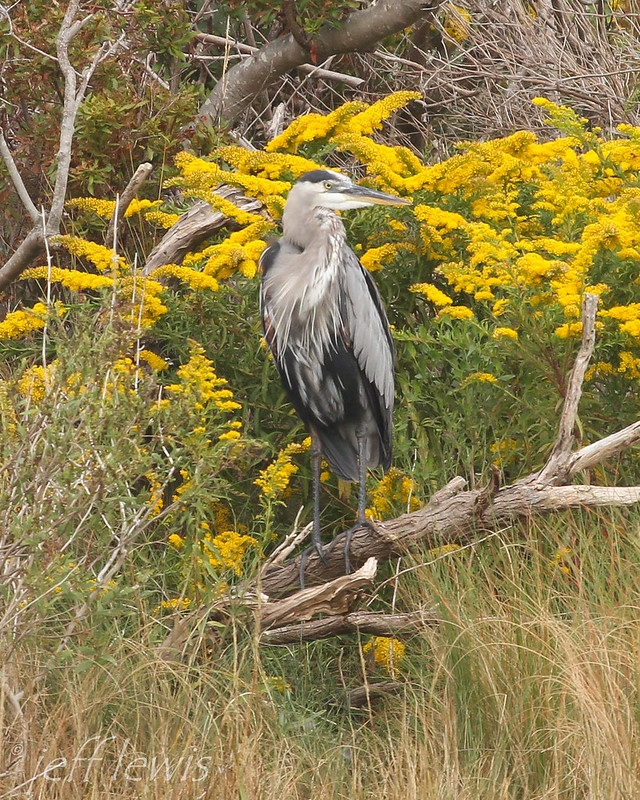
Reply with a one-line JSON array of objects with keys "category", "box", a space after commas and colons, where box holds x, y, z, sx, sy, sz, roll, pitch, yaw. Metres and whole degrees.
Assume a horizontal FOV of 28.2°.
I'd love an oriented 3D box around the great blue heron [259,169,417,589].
[{"category": "great blue heron", "box": [0.088, -0.179, 4.319, 0.532, 1.202, 0.554, -8, 10, -3]}]
